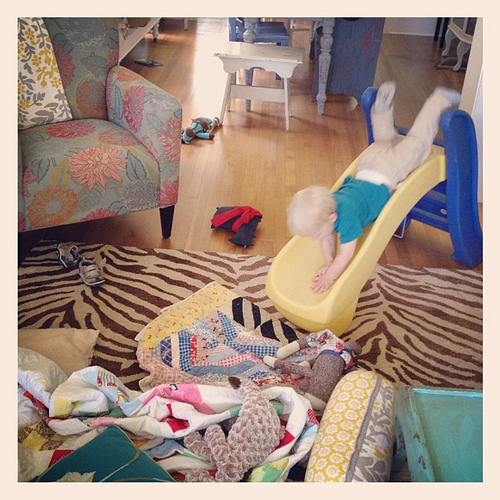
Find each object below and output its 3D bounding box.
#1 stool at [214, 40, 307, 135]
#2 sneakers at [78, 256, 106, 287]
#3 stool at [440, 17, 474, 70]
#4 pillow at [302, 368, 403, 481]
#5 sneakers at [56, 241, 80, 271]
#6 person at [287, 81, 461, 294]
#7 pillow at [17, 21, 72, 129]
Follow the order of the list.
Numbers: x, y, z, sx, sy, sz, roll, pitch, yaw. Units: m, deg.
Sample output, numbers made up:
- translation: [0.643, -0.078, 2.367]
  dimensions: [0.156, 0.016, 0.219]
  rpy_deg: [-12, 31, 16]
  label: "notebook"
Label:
- translation: [0.063, -1.355, 3.451]
  dimensions: [0.620, 0.491, 0.399]
  rpy_deg: [4, 28, 0]
  label: "stool"
- translation: [-0.756, 0.097, 1.986]
  dimensions: [0.080, 0.067, 0.187]
  rpy_deg: [-21, 40, -32]
  label: "sneakers"
- translation: [2.343, -2.329, 4.726]
  dimensions: [0.313, 0.519, 1.061]
  rpy_deg: [16, 27, 19]
  label: "stool"
- translation: [0.247, 0.389, 0.975]
  dimensions: [0.139, 0.103, 0.310]
  rpy_deg: [8, 32, 25]
  label: "pillow"
- translation: [-0.881, 0.031, 2.018]
  dimensions: [0.065, 0.080, 0.176]
  rpy_deg: [-8, 46, -27]
  label: "sneakers"
- translation: [0.484, -0.341, 1.803]
  dimensions: [0.285, 0.924, 0.340]
  rpy_deg: [33, 3, -28]
  label: "person"
- translation: [-1.039, -0.867, 2.042]
  dimensions: [0.262, 0.496, 0.177]
  rpy_deg: [-14, 32, -35]
  label: "pillow"
